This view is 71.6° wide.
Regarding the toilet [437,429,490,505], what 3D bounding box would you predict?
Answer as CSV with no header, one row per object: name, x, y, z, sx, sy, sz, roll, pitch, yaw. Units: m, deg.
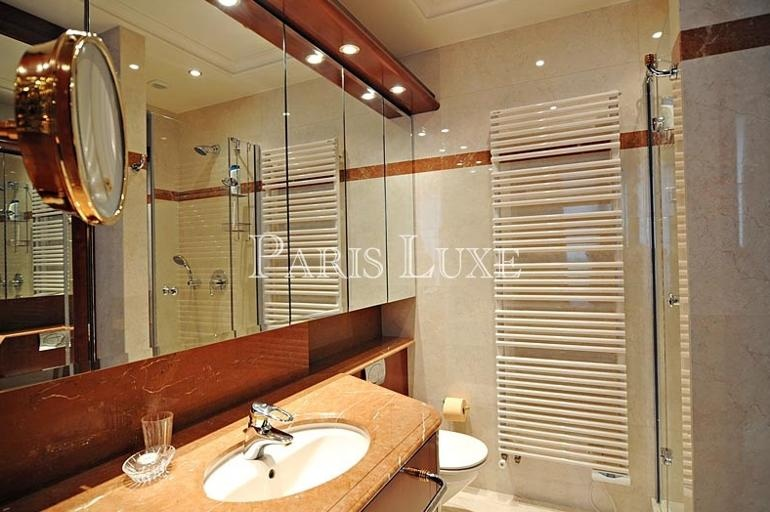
toilet,0.436,1.166,3.020,0.254,0.263,0.491,4,14,5

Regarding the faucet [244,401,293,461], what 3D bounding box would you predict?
faucet,-0.452,0.697,2.068,0.200,0.202,0.101,11,8,24

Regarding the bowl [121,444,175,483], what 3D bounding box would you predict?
bowl,-0.834,0.736,1.925,0.200,0.090,0.102,-11,20,-44

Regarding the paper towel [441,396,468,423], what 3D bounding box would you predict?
paper towel,0.438,0.970,3.295,0.153,0.190,0.133,5,15,10
